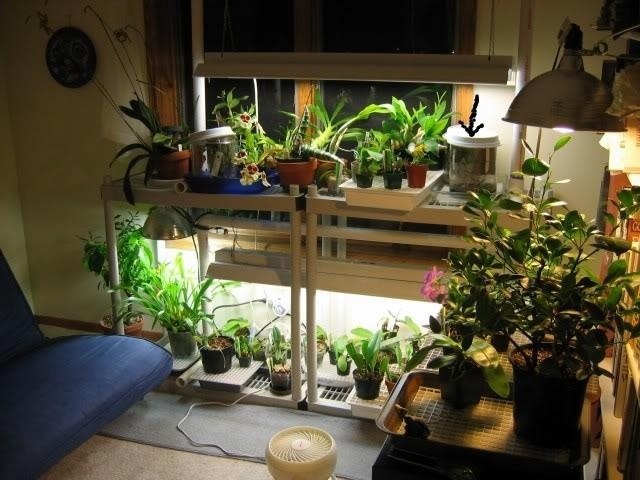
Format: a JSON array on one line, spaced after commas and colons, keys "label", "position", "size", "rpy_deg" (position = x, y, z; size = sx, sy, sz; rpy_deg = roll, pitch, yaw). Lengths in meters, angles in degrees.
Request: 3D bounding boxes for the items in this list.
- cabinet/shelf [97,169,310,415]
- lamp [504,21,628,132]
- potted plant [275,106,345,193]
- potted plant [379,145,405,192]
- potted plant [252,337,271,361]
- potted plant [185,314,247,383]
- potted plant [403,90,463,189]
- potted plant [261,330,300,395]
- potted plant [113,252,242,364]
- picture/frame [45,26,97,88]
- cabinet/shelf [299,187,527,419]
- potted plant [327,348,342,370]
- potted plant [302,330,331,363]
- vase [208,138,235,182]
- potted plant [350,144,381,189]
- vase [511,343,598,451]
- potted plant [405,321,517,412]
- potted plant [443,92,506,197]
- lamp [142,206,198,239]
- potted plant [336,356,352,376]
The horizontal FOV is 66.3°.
[{"label": "cabinet/shelf", "position": [-0.612, 0.225, 2.662], "size": [1.032, 1.004, 0.402], "rpy_deg": [2, 5, -4]}, {"label": "lamp", "position": [0.628, -0.421, 1.274], "size": [0.225, 0.281, 0.214], "rpy_deg": [-6, 14, -17]}, {"label": "potted plant", "position": [-0.070, -0.468, 2.508], "size": [0.350, 0.414, 0.290], "rpy_deg": [-10, 16, -30]}, {"label": "potted plant", "position": [0.336, -0.326, 2.246], "size": [0.111, 0.174, 0.110], "rpy_deg": [1, 12, 8]}, {"label": "potted plant", "position": [-0.334, 0.643, 2.879], "size": [0.137, 0.107, 0.147], "rpy_deg": [0, 7, 5]}, {"label": "potted plant", "position": [-0.569, 0.641, 2.835], "size": [0.203, 0.279, 0.329], "rpy_deg": [5, 5, 25]}, {"label": "potted plant", "position": [0.499, -0.459, 2.360], "size": [0.244, 0.402, 0.205], "rpy_deg": [7, 11, -12]}, {"label": "potted plant", "position": [-0.221, 0.683, 2.788], "size": [0.156, 0.348, 0.162], "rpy_deg": [5, -8, -36]}, {"label": "potted plant", "position": [-0.857, 0.507, 3.032], "size": [0.615, 0.366, 0.462], "rpy_deg": [3, -18, -36]}, {"label": "picture/frame", "position": [-1.560, -1.177, 3.106], "size": [0.284, 0.301, 0.040], "rpy_deg": [36, 34, 5]}, {"label": "cabinet/shelf", "position": [0.372, 0.287, 2.747], "size": [1.172, 1.206, 0.892], "rpy_deg": [2, 8, 10]}, {"label": "potted plant", "position": [0.076, 0.697, 2.896], "size": [0.077, 0.061, 0.079], "rpy_deg": [1, 3, 3]}, {"label": "potted plant", "position": [-0.023, 0.618, 2.922], "size": [0.187, 0.156, 0.211], "rpy_deg": [0, 27, -1]}, {"label": "vase", "position": [-0.489, -0.413, 2.453], "size": [0.137, 0.193, 0.079], "rpy_deg": [-5, 14, -14]}, {"label": "potted plant", "position": [0.206, -0.341, 2.346], "size": [0.190, 0.186, 0.178], "rpy_deg": [5, 10, 29]}, {"label": "vase", "position": [0.544, 0.389, 1.262], "size": [0.218, 0.186, 0.226], "rpy_deg": [0, 13, 1]}, {"label": "potted plant", "position": [0.354, 0.326, 1.269], "size": [0.240, 0.195, 0.244], "rpy_deg": [7, 4, 20]}, {"label": "potted plant", "position": [0.718, -0.409, 2.309], "size": [0.233, 0.322, 0.225], "rpy_deg": [7, 31, 17]}, {"label": "lamp", "position": [-0.837, -0.085, 2.739], "size": [0.208, 0.203, 0.201], "rpy_deg": [3, 16, 19]}, {"label": "potted plant", "position": [0.135, 0.708, 2.759], "size": [0.111, 0.082, 0.110], "rpy_deg": [2, 9, 14]}]
